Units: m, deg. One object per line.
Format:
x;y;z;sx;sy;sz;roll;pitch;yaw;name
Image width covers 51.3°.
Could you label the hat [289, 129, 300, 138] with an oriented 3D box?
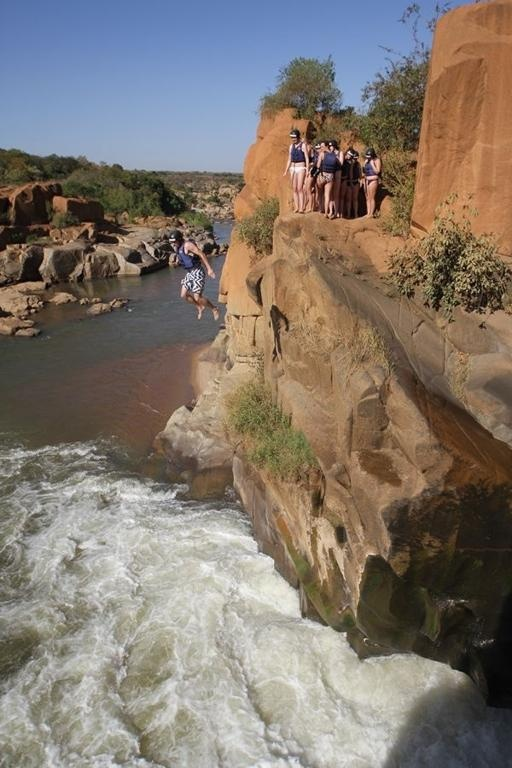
0.819;-5.292;11.290;0.171;0.192;0.509;4;16;-2;hat
